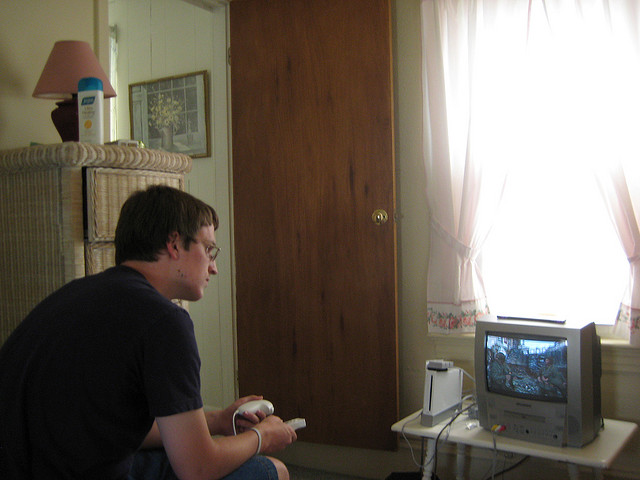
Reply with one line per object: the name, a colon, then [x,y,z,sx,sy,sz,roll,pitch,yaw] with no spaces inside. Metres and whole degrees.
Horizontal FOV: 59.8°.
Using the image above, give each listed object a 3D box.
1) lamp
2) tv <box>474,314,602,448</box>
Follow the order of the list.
lamp: [-1.063,-0.620,2.295,0.314,0.391,0.329,-2,0,5]
tv: [0.889,0.465,2.375,0.558,0.602,0.392,-1,-2,35]
